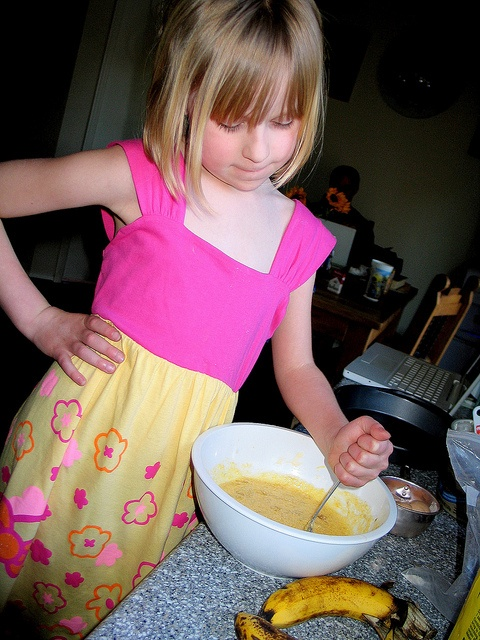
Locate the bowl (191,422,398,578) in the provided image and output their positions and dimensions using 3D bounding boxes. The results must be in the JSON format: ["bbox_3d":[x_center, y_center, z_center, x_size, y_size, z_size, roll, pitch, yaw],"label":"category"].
[{"bbox_3d":[0.122,0.281,0.846,0.302,0.113,0.296,24,-24,12],"label":"bowl"}]

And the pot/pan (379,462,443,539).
[{"bbox_3d":[0.259,0.280,0.773,0.087,0.047,0.105,0,16,-12],"label":"pot/pan"}]

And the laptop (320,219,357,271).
[{"bbox_3d":[0.715,-0.472,3.293,0.204,0.275,0.278,7,17,-32],"label":"laptop"}]

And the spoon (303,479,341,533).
[{"bbox_3d":[0.120,0.273,0.722,0.015,0.087,0.013,18,26,-16],"label":"spoon"}]

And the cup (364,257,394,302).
[{"bbox_3d":[0.767,-0.215,2.759,0.123,0.217,0.130,11,14,-3],"label":"cup"}]
